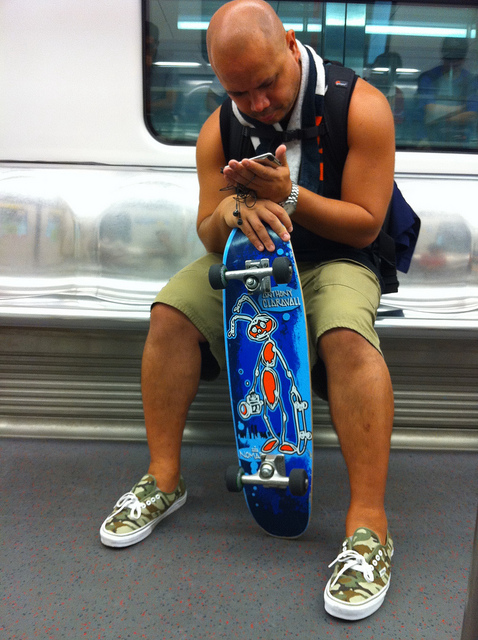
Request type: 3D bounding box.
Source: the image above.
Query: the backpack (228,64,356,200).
[{"bbox_3d":[0.205,-0.570,1.705,0.222,0.369,0.317,-26,46,-34],"label":"backpack"}]

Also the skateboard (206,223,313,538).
[{"bbox_3d":[0.061,0.144,1.409,0.231,0.839,0.135,-3,-4,24],"label":"skateboard"}]

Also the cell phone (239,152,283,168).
[{"bbox_3d":[0.052,-0.395,1.415,0.084,0.038,0.078,8,22,18],"label":"cell phone"}]

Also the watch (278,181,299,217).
[{"bbox_3d":[0.132,-0.314,1.510,0.057,0.084,0.026,-16,27,-35],"label":"watch"}]
